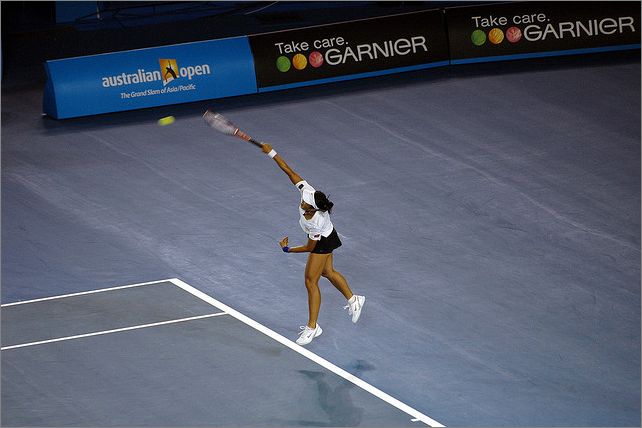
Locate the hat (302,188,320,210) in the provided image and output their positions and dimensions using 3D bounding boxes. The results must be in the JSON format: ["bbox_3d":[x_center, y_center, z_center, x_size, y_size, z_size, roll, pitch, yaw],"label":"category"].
[{"bbox_3d":[-0.167,-0.223,8.671,0.229,0.322,0.284,-14,23,0],"label":"hat"}]

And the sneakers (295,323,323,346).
[{"bbox_3d":[-0.223,1.926,9.142,0.476,0.160,0.250,-24,27,-37],"label":"sneakers"}]
